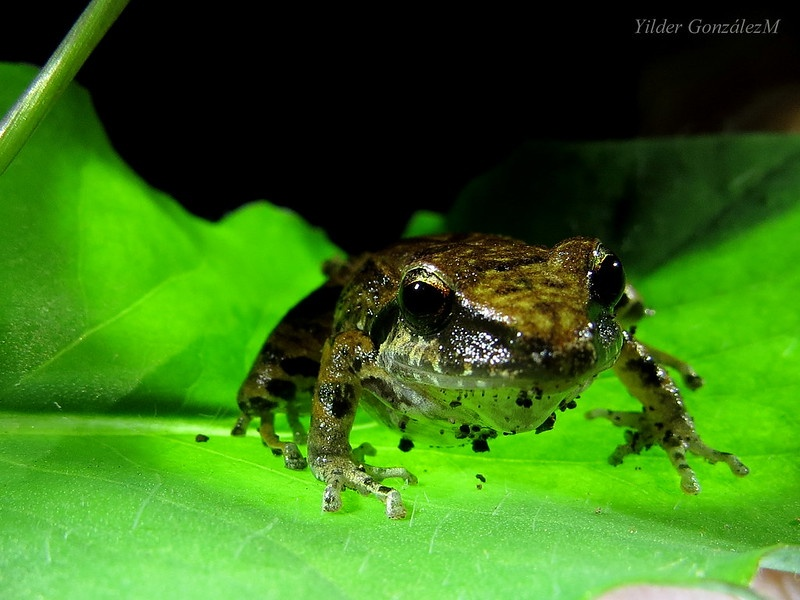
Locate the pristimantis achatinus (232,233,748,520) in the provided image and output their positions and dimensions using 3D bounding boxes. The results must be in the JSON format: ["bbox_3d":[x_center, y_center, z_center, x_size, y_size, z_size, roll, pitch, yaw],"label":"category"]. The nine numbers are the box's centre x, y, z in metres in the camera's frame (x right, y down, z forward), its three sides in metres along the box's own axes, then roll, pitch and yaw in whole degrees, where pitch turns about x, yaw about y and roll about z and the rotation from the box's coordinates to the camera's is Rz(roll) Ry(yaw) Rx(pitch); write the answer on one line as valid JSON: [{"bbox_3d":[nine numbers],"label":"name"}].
[{"bbox_3d":[0.164,0.136,1.948,1.260,0.577,0.931,6,16,25],"label":"pristimantis achatinus"}]
